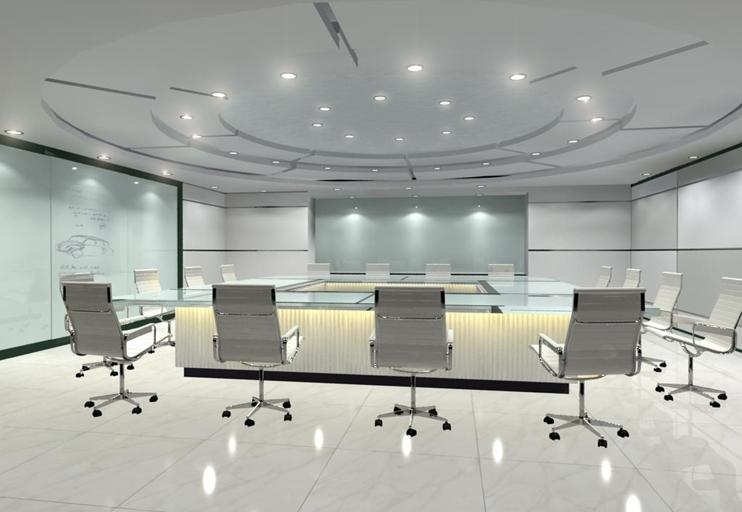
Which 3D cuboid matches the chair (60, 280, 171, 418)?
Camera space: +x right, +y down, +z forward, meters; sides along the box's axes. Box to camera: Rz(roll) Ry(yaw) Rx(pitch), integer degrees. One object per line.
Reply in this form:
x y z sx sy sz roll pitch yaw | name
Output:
-3.029 1.001 5.275 0.776 1.548 1.174 -9 12 -43 | chair

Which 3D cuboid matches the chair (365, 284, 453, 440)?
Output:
0.438 1.085 4.782 0.946 1.311 0.805 2 -8 -3 | chair

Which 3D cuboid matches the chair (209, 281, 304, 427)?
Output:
-1.213 1.002 4.887 0.918 1.491 0.524 -1 9 -8 | chair
